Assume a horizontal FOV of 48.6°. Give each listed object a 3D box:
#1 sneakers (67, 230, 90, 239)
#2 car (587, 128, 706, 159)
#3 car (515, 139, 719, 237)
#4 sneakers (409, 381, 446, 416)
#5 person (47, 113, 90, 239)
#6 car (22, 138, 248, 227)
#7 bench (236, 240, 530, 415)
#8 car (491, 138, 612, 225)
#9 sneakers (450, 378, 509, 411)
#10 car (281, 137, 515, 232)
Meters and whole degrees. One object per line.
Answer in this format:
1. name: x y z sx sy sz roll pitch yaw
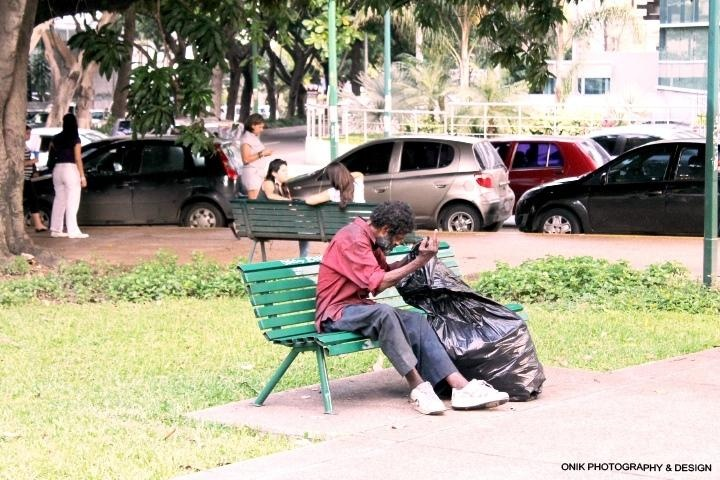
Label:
1. sneakers: -5.414 -0.089 15.434 0.339 0.229 0.145 -5 5 -10
2. car: 7.515 -2.817 21.371 2.503 0.863 1.399 4 6 24
3. car: 4.940 -0.988 15.617 3.029 1.385 1.684 4 3 17
4. sneakers: 0.564 1.355 6.764 0.172 0.148 0.342 -9 10 -31
5. person: -5.758 -1.258 15.698 0.737 2.428 1.547 -4 11 -20
6. car: -4.656 -1.179 17.416 4.025 1.610 2.211 2 3 3
7. bench: -0.174 0.788 7.917 0.931 1.140 2.673 7 5 21
8. car: 4.488 -1.649 18.821 2.640 1.300 1.539 5 6 13
9. sneakers: 1.002 1.336 6.811 0.542 0.247 0.206 -3 -5 2
10. car: 1.253 -1.285 16.882 3.505 1.517 2.015 4 4 14
